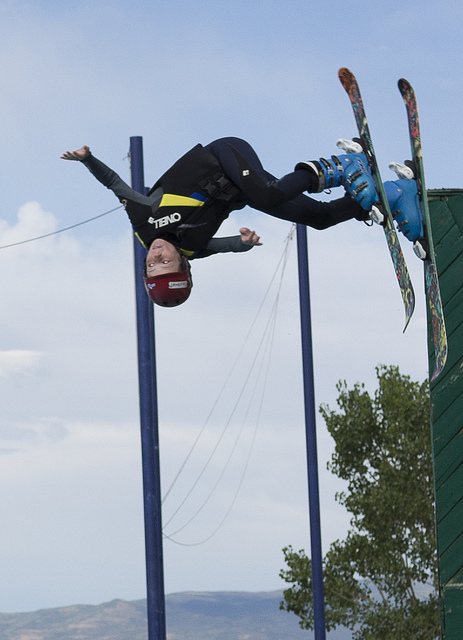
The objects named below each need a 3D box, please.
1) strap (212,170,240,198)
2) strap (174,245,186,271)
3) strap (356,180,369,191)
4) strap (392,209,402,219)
[{"bbox_3d":[-0.065,-1.400,15.807,0.263,0.261,0.061,37,-39,7],"label":"strap"},{"bbox_3d":[-0.521,-0.658,15.829,0.158,0.200,0.113,-7,-7,12],"label":"strap"},{"bbox_3d":[1.409,-1.447,16.493,0.125,0.079,0.033,-36,-18,-7],"label":"strap"},{"bbox_3d":[1.839,-1.185,16.982,0.084,0.105,0.032,15,16,-5],"label":"strap"}]
